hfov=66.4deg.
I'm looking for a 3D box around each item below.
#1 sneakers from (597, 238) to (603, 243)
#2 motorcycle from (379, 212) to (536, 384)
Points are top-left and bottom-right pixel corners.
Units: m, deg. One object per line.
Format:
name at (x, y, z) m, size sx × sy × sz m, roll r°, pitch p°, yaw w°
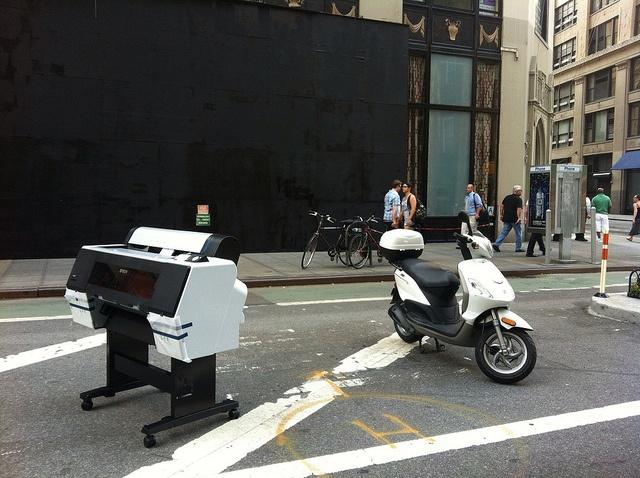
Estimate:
sneakers at (11.719, 0.052, 20.489) m, size 0.170 × 0.236 × 0.538 m, roll 0°, pitch 1°, yaw 13°
motorcycle at (1.694, 0.620, 6.062) m, size 1.920 × 1.923 × 0.558 m, roll 6°, pitch 7°, yaw 44°
